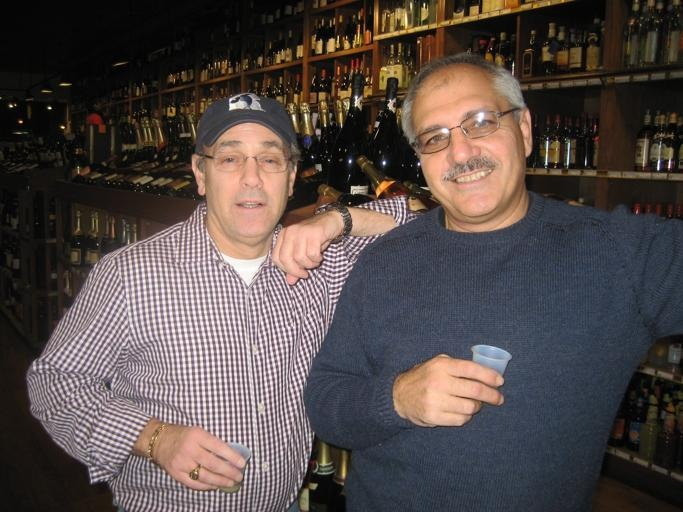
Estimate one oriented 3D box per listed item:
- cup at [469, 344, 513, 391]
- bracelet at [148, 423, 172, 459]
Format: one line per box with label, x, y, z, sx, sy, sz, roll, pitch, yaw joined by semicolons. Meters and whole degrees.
cup;0.365;0.270;1.367;0.086;0.068;0.086;24;-1;0
bracelet;-0.527;0.516;1.568;0.026;0.087;0.077;20;-34;-13
